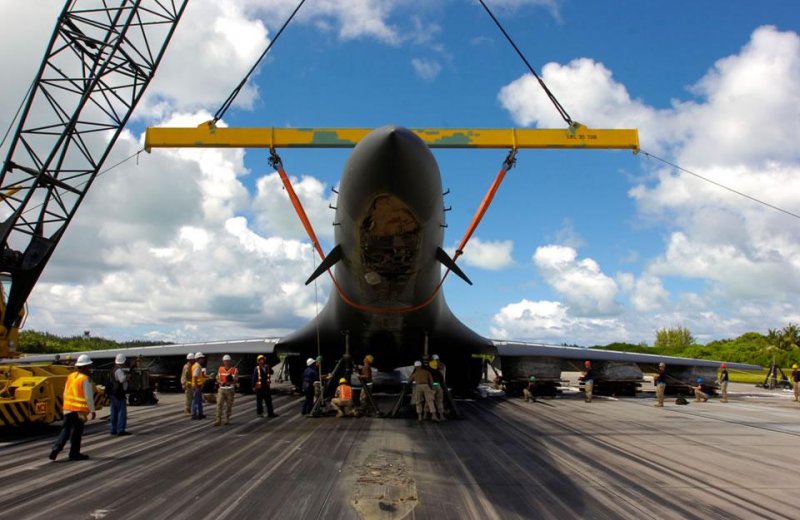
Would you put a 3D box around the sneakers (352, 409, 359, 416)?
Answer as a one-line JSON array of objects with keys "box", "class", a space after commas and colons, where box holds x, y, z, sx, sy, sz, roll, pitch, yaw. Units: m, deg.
[{"box": [-1.631, 5.709, 19.613, 0.218, 0.239, 0.338, 0, 1, -2], "class": "sneakers"}]

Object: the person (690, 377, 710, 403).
[{"box": [15.580, 6.777, 27.322, 1.168, 1.478, 0.769, 8, -17, 6], "class": "person"}]

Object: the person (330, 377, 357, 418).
[{"box": [-2.342, 5.188, 19.981, 1.069, 1.794, 1.283, 8, -11, -35], "class": "person"}]

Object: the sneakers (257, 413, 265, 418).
[{"box": [-5.223, 5.871, 19.811, 0.228, 0.110, 0.321, 6, -17, -32], "class": "sneakers"}]

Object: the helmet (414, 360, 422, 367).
[{"box": [0.665, 3.780, 19.157, 0.216, 0.140, 0.346, 2, -15, -6], "class": "helmet"}]

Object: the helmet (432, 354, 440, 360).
[{"box": [1.367, 3.719, 19.970, 0.256, 0.200, 0.252, 9, -10, -36], "class": "helmet"}]

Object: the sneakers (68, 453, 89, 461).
[{"box": [-8.926, 5.526, 14.728, 0.482, 0.214, 0.228, 2, -10, -5], "class": "sneakers"}]
